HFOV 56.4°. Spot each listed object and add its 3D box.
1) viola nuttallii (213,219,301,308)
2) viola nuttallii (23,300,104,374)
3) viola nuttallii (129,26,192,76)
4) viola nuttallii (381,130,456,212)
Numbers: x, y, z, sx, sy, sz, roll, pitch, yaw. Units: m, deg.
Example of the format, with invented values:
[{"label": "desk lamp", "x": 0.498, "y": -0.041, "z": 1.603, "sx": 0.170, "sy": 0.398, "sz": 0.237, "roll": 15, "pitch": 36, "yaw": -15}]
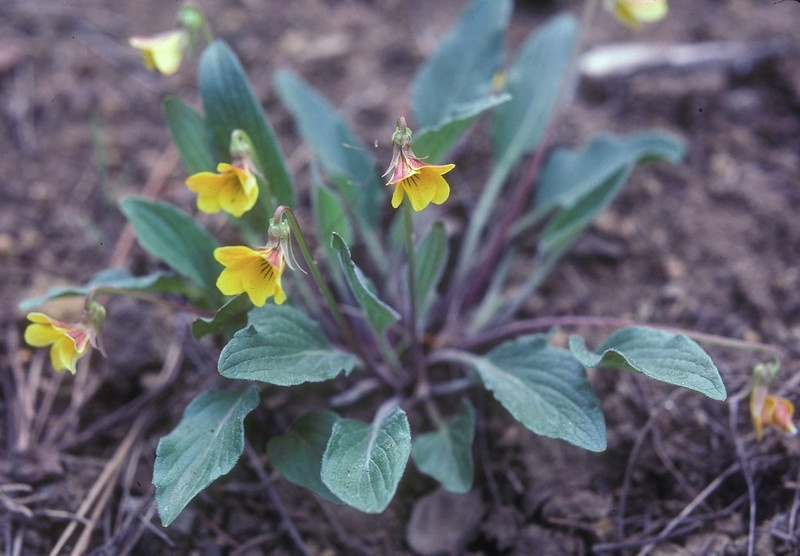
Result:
[{"label": "viola nuttallii", "x": -0.480, "y": -0.062, "z": 2.706, "sx": 0.253, "sy": 0.204, "sz": 0.363, "roll": 28, "pitch": 47, "yaw": 18}, {"label": "viola nuttallii", "x": -1.239, "y": 0.238, "z": 2.783, "sx": 0.198, "sy": 0.286, "sz": 0.298, "roll": 6, "pitch": 44, "yaw": -26}, {"label": "viola nuttallii", "x": -0.900, "y": -0.851, "z": 2.807, "sx": 0.166, "sy": 0.138, "sz": 0.187, "roll": 14, "pitch": 57, "yaw": 7}, {"label": "viola nuttallii", "x": 0.060, "y": -0.407, "z": 2.720, "sx": 0.220, "sy": 0.259, "sz": 0.352, "roll": 0, "pitch": 56, "yaw": -2}]
